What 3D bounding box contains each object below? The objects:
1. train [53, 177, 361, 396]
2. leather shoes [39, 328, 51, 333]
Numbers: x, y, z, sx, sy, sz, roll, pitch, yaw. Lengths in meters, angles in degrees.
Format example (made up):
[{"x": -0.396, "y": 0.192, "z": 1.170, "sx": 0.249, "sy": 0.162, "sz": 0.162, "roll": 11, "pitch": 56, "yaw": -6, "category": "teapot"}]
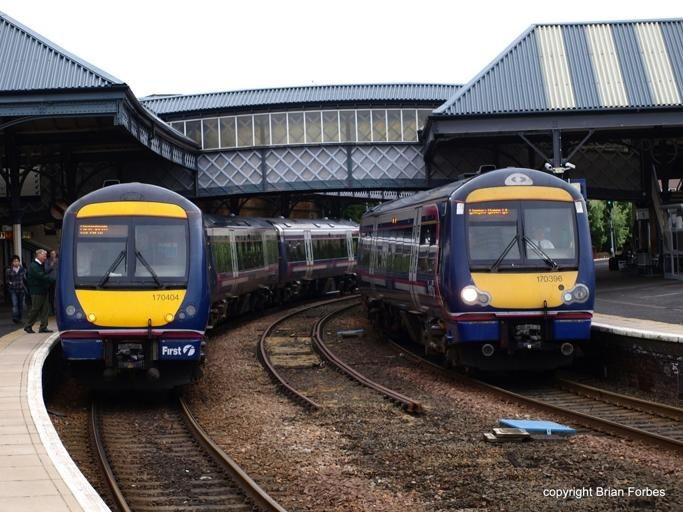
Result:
[{"x": -3.161, "y": 0.532, "z": 22.289, "sx": 3.638, "sy": 4.982, "sz": 24.040, "roll": -1, "pitch": 0, "yaw": 11, "category": "train"}, {"x": -7.594, "y": 1.914, "z": 14.877, "sx": 0.338, "sy": 0.133, "sz": 0.109, "roll": 1, "pitch": 5, "yaw": -3, "category": "leather shoes"}]
